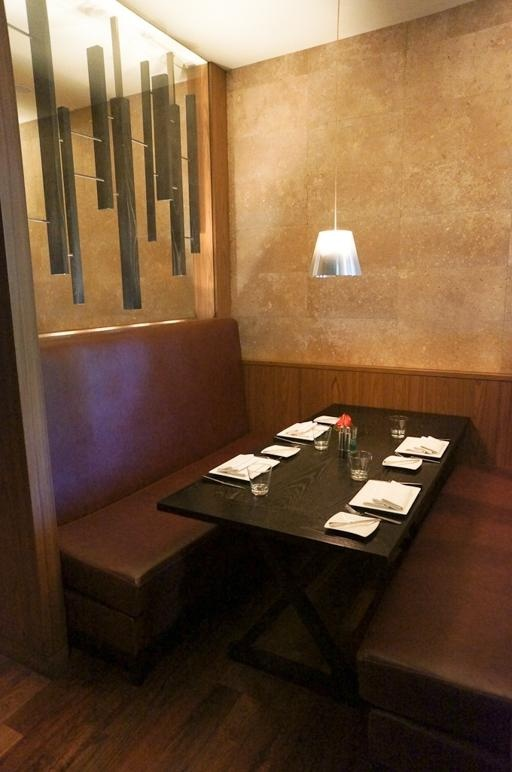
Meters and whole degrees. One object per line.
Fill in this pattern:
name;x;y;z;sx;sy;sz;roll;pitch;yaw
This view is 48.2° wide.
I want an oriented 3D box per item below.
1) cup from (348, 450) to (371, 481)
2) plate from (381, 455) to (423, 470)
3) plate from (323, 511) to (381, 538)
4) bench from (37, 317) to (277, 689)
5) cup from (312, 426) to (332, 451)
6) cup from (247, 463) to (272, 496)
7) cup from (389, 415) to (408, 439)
cup;0.343;0.264;1.938;0.082;0.100;0.085;0;8;0
plate;0.519;0.274;2.030;0.086;0.016;0.063;6;19;34
plate;0.258;0.375;1.549;0.080;0.021;0.069;8;19;33
bench;-0.300;0.307;2.479;0.668;1.069;1.309;6;15;33
cup;0.264;0.218;2.292;0.067;0.086;0.074;1;-2;0
cup;0.007;0.293;1.812;0.067;0.086;0.075;0;-5;-9
cup;0.593;0.176;2.430;0.077;0.100;0.084;-1;1;0
